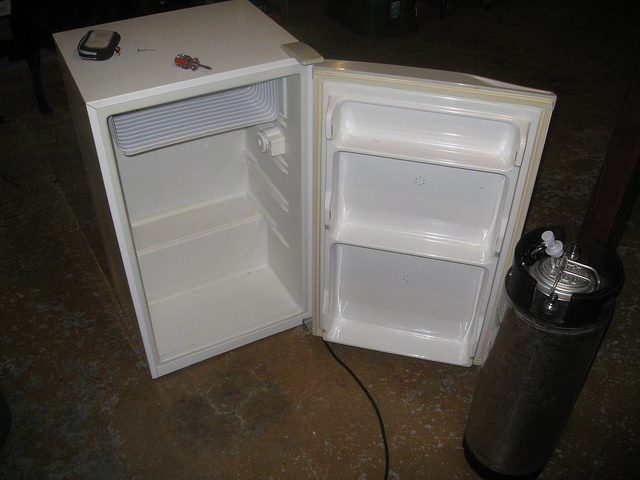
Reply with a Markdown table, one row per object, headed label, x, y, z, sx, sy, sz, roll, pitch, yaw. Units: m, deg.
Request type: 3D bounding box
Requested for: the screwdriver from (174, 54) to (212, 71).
| label | x | y | z | sx | sy | sz | roll | pitch | yaw |
| --- | --- | --- | --- | --- | --- | --- | --- | --- | --- |
| screwdriver | -0.540 | -0.747 | 2.269 | 0.133 | 0.043 | 0.072 | 18 | 75 | 9 |
